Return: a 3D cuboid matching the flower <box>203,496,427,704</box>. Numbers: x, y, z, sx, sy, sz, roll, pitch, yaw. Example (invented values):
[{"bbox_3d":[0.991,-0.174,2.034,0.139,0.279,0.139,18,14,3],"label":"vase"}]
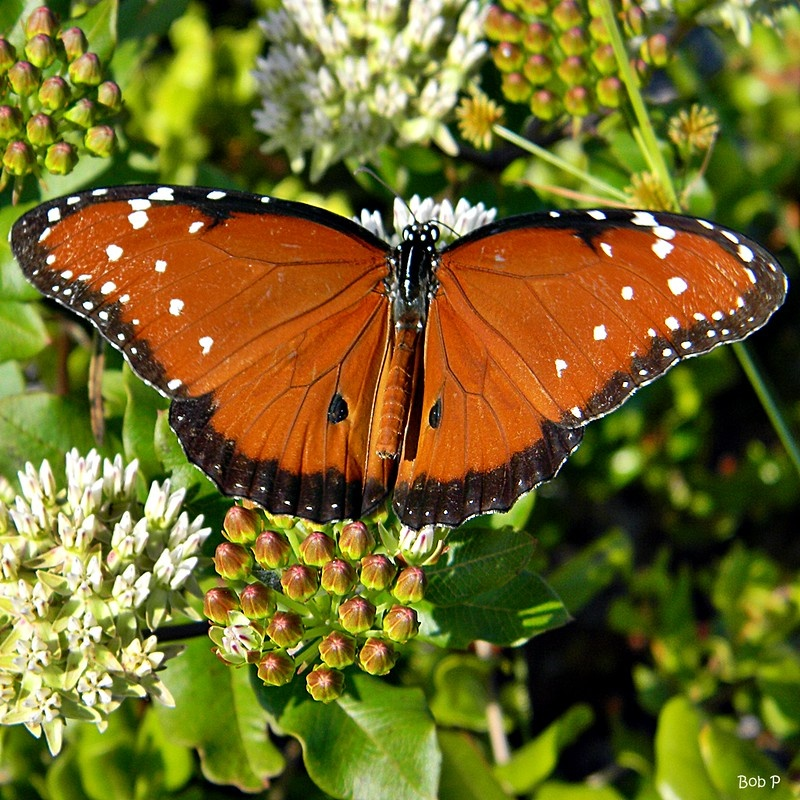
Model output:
[{"bbox_3d":[-0.129,0.285,1.497,0.282,0.314,0.155,-8,-19,-1],"label":"flower"}]
